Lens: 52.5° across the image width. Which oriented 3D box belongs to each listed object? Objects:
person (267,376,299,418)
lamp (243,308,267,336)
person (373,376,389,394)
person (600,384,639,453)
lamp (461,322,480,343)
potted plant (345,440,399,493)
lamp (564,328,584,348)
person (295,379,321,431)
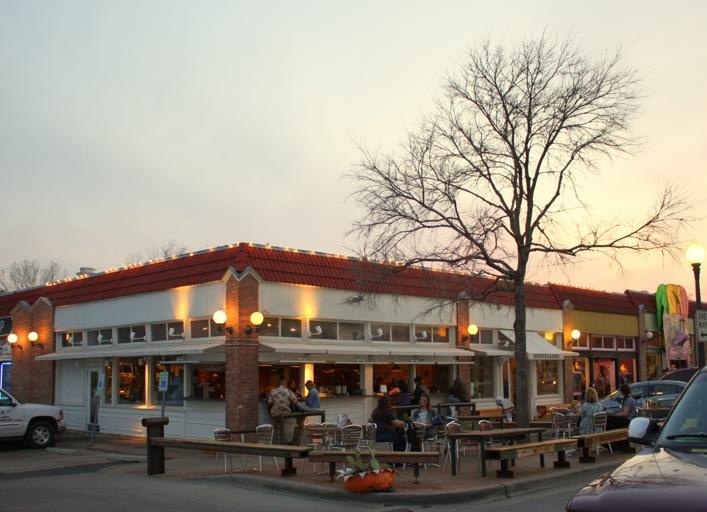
[{"bbox_3d":[-2.158,4.445,21.992,0.875,1.208,0.695,0,-21,-3],"label":"person"},{"bbox_3d":[-3.088,2.068,21.839,0.498,0.956,0.712,6,-12,-35],"label":"lamp"},{"bbox_3d":[0.925,4.698,26.074,0.499,0.935,0.477,-2,-7,-13],"label":"person"},{"bbox_3d":[7.872,4.724,21.520,1.059,1.900,0.735,3,10,23],"label":"person"},{"bbox_3d":[4.797,3.112,29.196,0.555,0.826,1.445,-7,-16,22],"label":"lamp"},{"bbox_3d":[0.262,4.469,15.176,1.092,0.972,1.122,-17,-16,40],"label":"potted plant"},{"bbox_3d":[10.384,3.853,34.048,0.452,0.870,0.891,-6,-10,39],"label":"lamp"},{"bbox_3d":[-1.464,4.593,22.411,0.799,1.449,0.626,-1,-2,0],"label":"person"}]
